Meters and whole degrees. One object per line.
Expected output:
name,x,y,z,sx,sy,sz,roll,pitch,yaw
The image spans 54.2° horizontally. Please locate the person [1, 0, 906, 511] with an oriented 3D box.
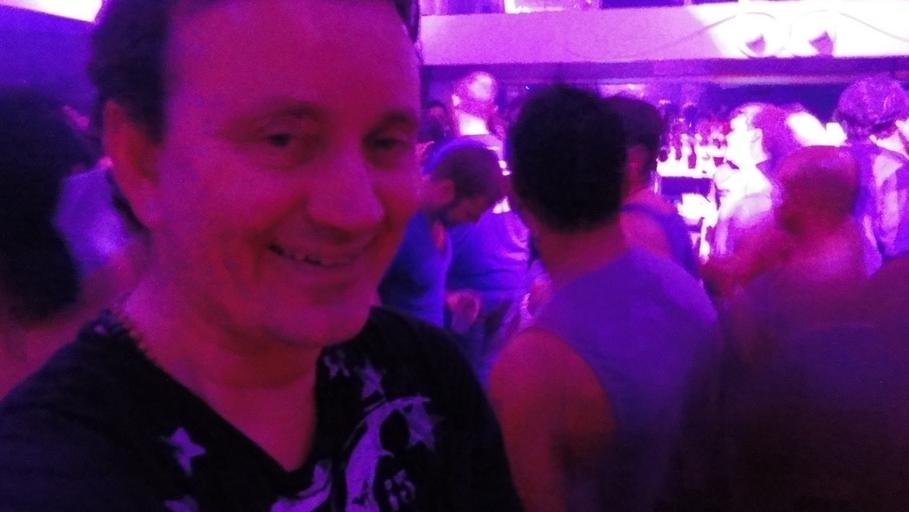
person,0.079,0.047,2.233,2.206,1.315,0.449,0,15,-5
